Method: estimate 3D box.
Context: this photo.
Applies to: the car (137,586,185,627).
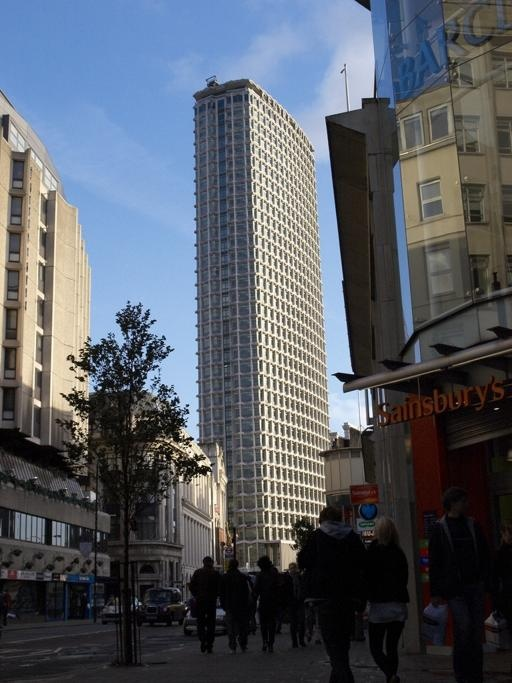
[{"bbox_3d":[-4.620,12.884,44.234,1.798,1.529,3.184,-2,-20,4],"label":"car"}]
